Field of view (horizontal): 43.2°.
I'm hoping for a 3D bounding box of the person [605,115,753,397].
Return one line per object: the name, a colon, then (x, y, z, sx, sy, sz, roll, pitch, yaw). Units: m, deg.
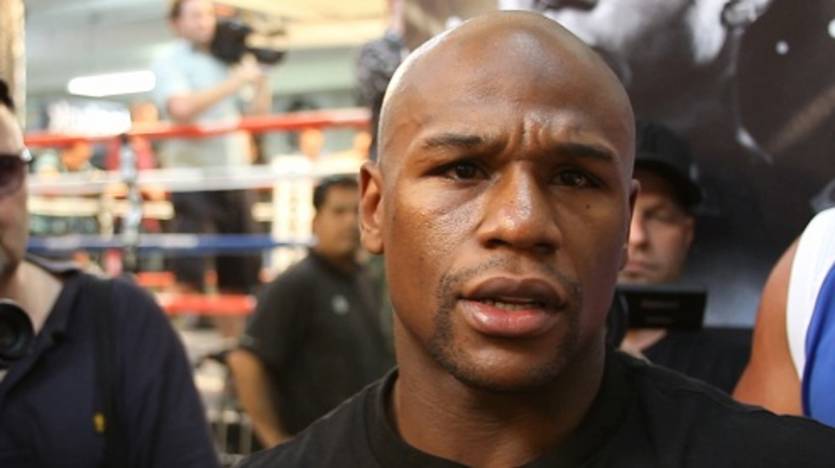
person: (1.760, 0.145, 7.113, 1.522, 1.410, 0.382, 8, 2, 12)
